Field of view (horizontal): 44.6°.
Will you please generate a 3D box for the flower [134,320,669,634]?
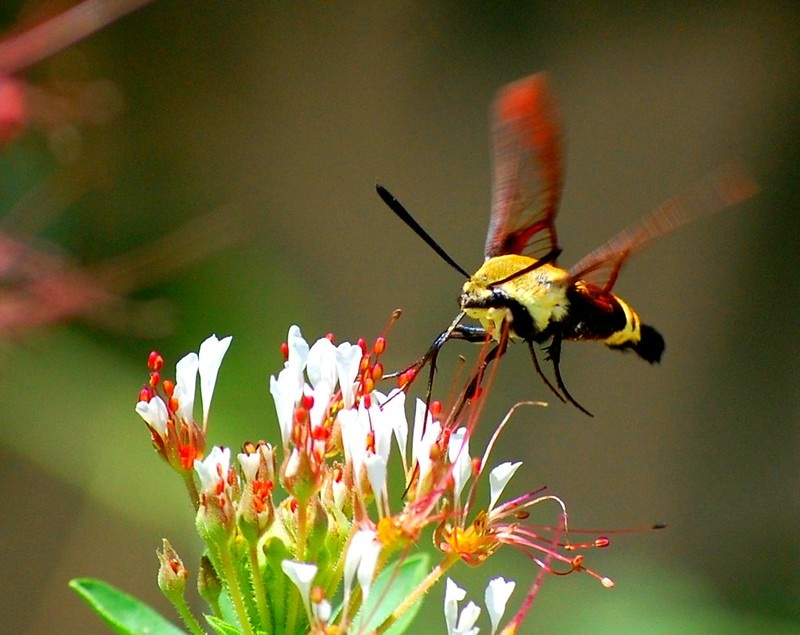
[{"bbox_3d":[-0.123,0.331,1.951,0.555,0.811,0.427,17,-79,4],"label":"flower"}]
